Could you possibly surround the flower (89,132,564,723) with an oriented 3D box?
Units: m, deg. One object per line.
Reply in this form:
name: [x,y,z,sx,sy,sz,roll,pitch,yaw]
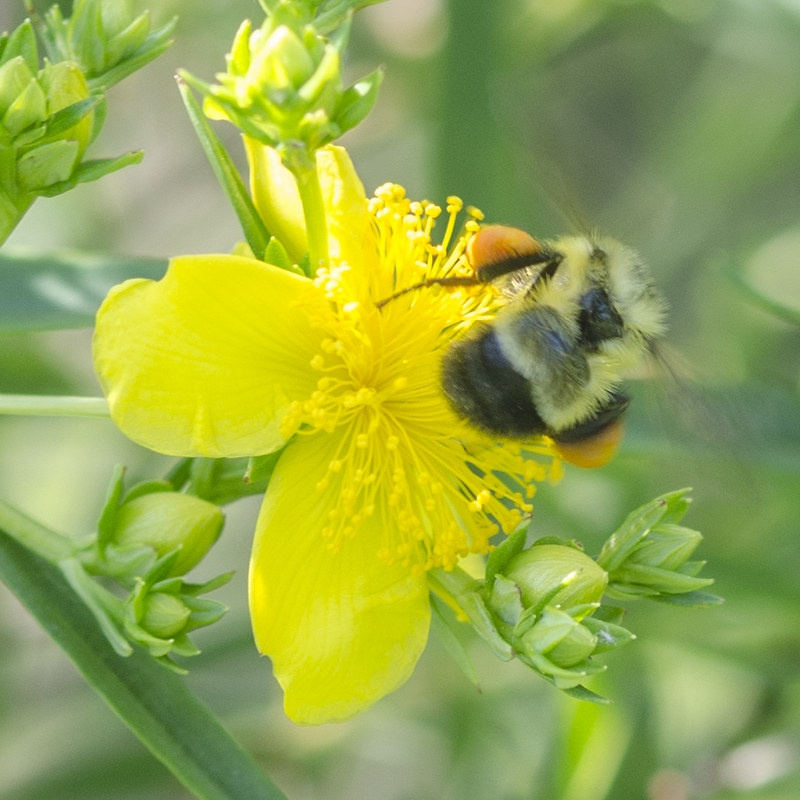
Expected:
flower: [-0.134,0.025,0.774,0.418,0.177,0.354,16,76,-35]
